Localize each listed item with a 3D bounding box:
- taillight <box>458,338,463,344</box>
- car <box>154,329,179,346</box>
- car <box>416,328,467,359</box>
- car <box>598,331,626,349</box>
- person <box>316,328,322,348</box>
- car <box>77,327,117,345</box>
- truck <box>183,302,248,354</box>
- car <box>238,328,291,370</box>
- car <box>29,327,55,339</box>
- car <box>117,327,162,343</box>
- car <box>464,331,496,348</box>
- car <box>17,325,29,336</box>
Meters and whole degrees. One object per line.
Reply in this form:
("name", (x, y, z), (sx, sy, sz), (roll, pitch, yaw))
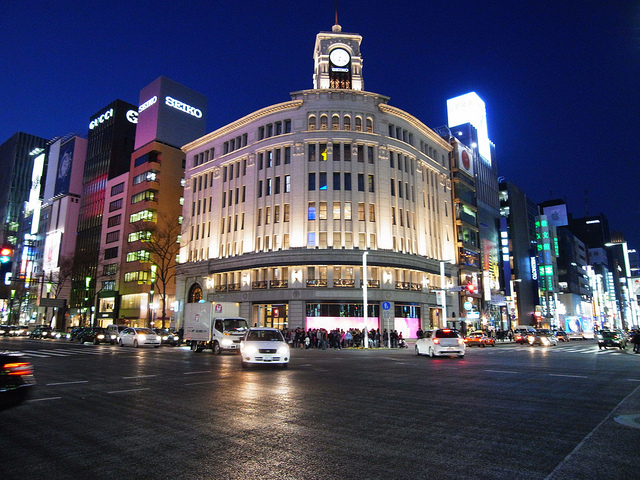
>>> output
("taillight", (8.072, 5.845, 26.238), (0.368, 0.313, 0.194), (8, -12, -38))
("car", (-13.986, 8.828, 41.224), (1.286, 1.031, 2.857), (5, -9, -38))
("car", (7.220, 6.120, 26.887), (1.681, 1.673, 3.338), (4, -10, -20))
("car", (25.518, 8.773, 39.886), (1.307, 1.111, 2.786), (-10, -25, 30))
("person", (-0.055, 9.400, 43.221), (0.549, 1.578, 0.564), (1, -9, -6))
("car", (-20.407, 8.711, 42.233), (4.289, 1.505, 1.831), (-14, -18, 39))
("truck", (-6.885, 5.906, 30.951), (2.659, 3.354, 5.199), (8, -12, -43))
("car", (-2.377, 4.738, 19.769), (1.879, 1.606, 1.801), (2, -10, -11))
("car", (-32.009, 10.898, 53.065), (2.584, 1.316, 1.527), (-7, -13, 27))
("car", (-14.420, 7.687, 36.444), (3.313, 1.166, 1.542), (-7, -12, 37))
("car", (16.228, 10.226, 46.886), (2.178, 1.475, 4.223), (-4, -11, 23))
("car", (-40.032, 12.490, 61.744), (1.073, 1.182, 5.162), (6, -12, -33))
